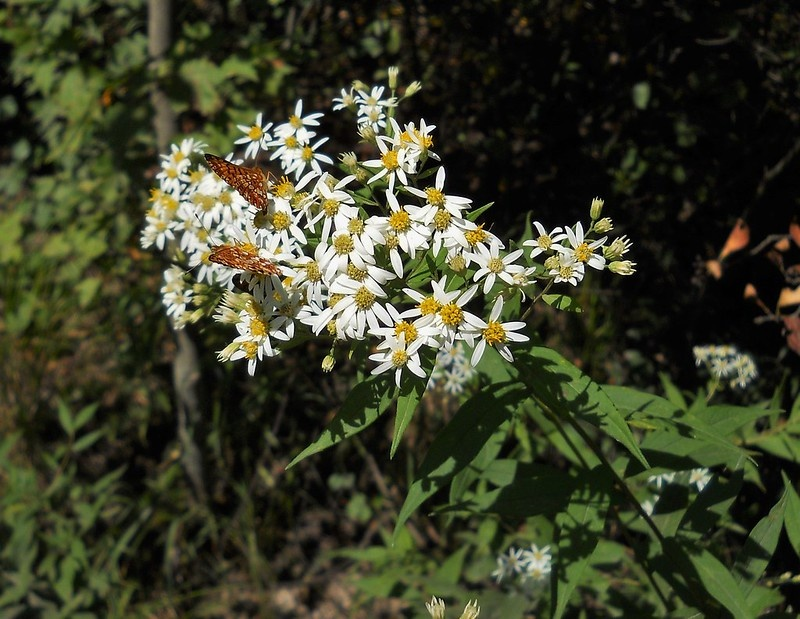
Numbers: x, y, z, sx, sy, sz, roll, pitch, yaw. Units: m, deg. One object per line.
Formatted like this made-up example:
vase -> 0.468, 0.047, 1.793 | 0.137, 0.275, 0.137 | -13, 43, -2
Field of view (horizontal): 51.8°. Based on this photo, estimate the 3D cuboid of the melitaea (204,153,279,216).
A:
melitaea -> -0.617, -0.513, 3.230 | 0.199, 0.162, 0.244 | 32, 10, -10

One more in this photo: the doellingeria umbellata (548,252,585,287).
doellingeria umbellata -> 0.667, -0.143, 3.309 | 0.128, 0.147, 0.111 | 17, 38, 24

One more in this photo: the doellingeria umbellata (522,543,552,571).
doellingeria umbellata -> 0.722, 1.250, 4.309 | 0.138, 0.158, 0.159 | 6, 36, 11

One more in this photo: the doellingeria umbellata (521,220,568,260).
doellingeria umbellata -> 0.602, -0.266, 3.378 | 0.155, 0.086, 0.173 | -27, 38, 19

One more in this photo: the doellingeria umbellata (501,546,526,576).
doellingeria umbellata -> 0.602, 1.303, 4.378 | 0.121, 0.141, 0.110 | 6, 35, 11

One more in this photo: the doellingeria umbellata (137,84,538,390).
doellingeria umbellata -> -0.286, -0.226, 3.390 | 1.690, 0.933, 0.825 | 6, 35, 10
